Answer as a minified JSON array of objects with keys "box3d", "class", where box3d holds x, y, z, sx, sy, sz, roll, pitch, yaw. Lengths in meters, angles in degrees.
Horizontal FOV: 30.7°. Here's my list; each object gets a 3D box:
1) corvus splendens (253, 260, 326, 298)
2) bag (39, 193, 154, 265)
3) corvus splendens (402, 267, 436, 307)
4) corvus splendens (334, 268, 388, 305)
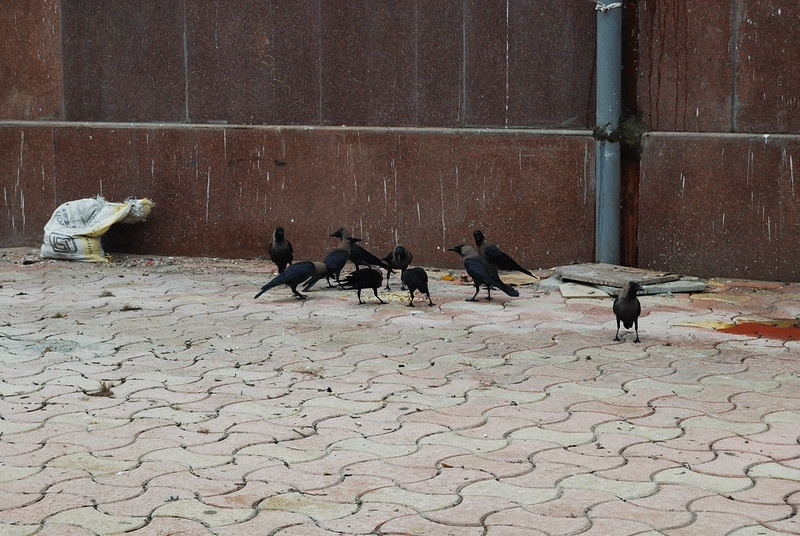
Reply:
[{"box3d":[-1.360,0.129,18.049,0.885,0.376,0.286,0,7,-25],"class":"corvus splendens"},{"box3d":[-4.518,-0.626,20.886,1.245,1.064,0.448,5,-32,10],"class":"bag"},{"box3d":[0.166,0.150,17.641,0.545,0.299,0.228,-6,24,-45],"class":"corvus splendens"},{"box3d":[-0.497,0.181,17.921,0.280,0.418,0.782,-19,-24,41],"class":"corvus splendens"}]
